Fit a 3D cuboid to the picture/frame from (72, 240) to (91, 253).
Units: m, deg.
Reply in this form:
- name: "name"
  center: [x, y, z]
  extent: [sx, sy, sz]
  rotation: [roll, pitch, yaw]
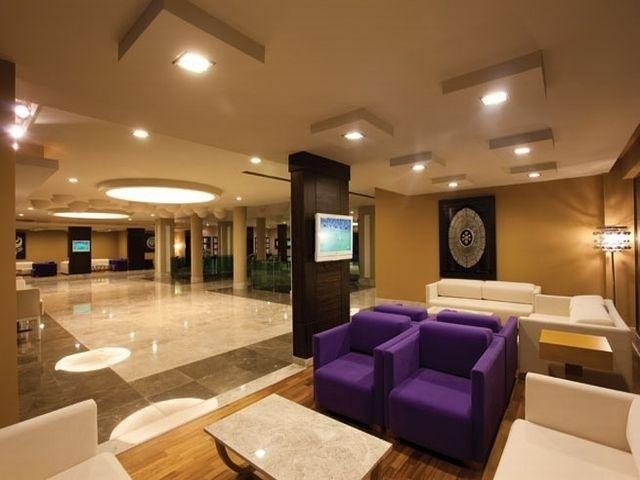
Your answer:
- name: "picture/frame"
  center: [-12.204, 0.327, 21.103]
  extent: [0.065, 0.552, 0.614]
  rotation: [-5, -4, 38]

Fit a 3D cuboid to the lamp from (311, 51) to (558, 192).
- name: "lamp"
  center: [1.216, -1.526, 4.655]
  extent: [2.337, 0.375, 0.783]
  rotation: [-1, -2, 28]

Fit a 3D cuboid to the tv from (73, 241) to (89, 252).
- name: "tv"
  center: [-12.205, 0.311, 21.102]
  extent: [0.057, 0.467, 0.519]
  rotation: [-5, -4, 35]
